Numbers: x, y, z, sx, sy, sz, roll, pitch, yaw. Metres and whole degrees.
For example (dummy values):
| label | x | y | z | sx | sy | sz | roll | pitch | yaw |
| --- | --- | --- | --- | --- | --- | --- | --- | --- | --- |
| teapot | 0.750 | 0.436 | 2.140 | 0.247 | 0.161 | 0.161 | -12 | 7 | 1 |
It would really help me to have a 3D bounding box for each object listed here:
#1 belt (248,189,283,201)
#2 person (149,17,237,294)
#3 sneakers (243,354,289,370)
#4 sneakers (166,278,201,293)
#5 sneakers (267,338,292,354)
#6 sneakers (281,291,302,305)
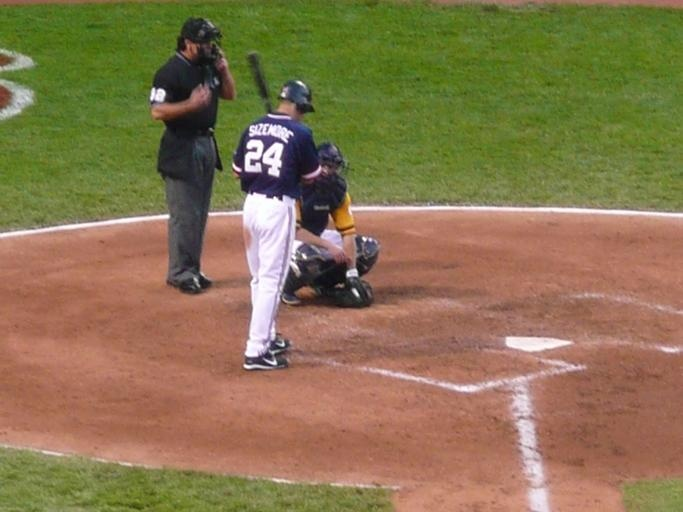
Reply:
| label | x | y | z | sx | sy | sz | roll | pitch | yaw |
| --- | --- | --- | --- | --- | --- | --- | --- | --- | --- |
| belt | -0.865 | -0.701 | 13.461 | 0.435 | 0.102 | 0.093 | 16 | 27 | 22 |
| person | -1.880 | -1.211 | 14.589 | 0.860 | 3.198 | 1.046 | 1 | 24 | -7 |
| sneakers | -0.862 | 1.198 | 13.718 | 0.512 | 0.235 | 0.191 | -2 | 11 | -10 |
| sneakers | -1.959 | 0.363 | 14.854 | 0.371 | 0.121 | 0.171 | 6 | 12 | 37 |
| sneakers | -0.716 | 1.015 | 13.870 | 0.293 | 0.139 | 0.119 | -8 | 24 | -8 |
| sneakers | -0.636 | 0.524 | 14.825 | 0.293 | 0.204 | 0.114 | 3 | 4 | 41 |
